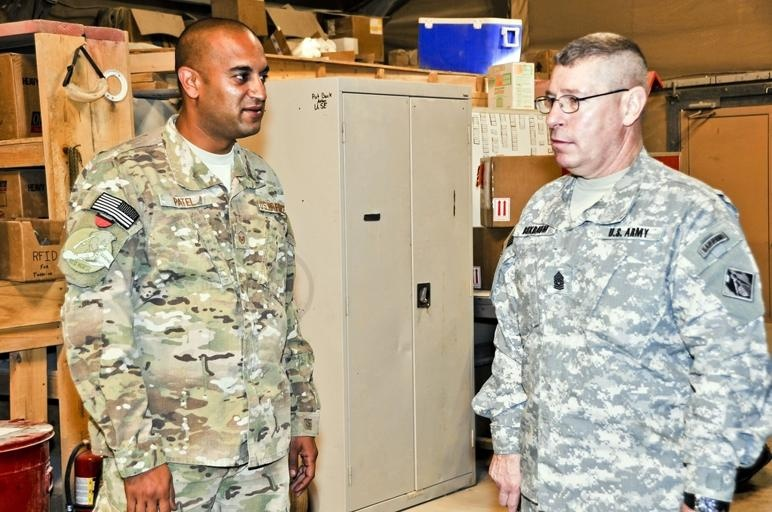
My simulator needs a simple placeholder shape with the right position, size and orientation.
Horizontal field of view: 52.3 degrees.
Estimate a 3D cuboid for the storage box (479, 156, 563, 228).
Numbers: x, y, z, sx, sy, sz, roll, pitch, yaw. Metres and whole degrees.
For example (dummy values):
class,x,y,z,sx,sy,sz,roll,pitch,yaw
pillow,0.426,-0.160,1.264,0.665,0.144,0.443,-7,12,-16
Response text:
class,x,y,z,sx,sy,sz,roll,pitch,yaw
storage box,0.741,-0.358,4.268,0.567,0.406,0.278,2,4,-11
